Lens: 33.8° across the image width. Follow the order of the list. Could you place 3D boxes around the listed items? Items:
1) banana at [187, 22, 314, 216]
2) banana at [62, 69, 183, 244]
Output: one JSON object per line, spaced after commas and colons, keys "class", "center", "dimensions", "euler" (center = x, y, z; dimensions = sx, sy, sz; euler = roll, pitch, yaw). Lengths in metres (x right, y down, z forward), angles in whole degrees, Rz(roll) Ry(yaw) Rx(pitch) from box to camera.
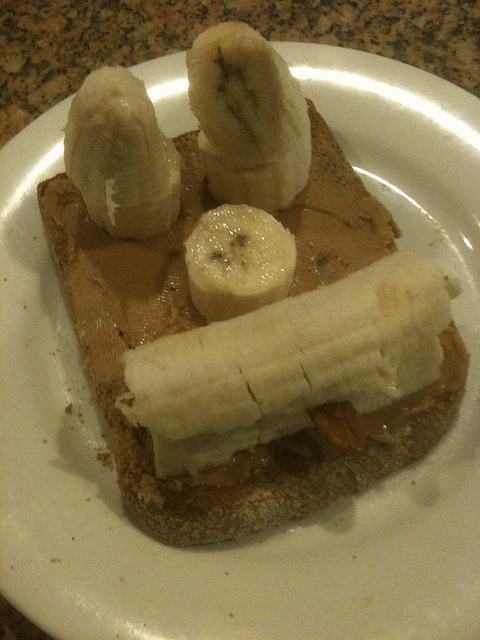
{"class": "banana", "center": [0.023, -0.395, 1.597], "dimensions": [0.242, 0.395, 0.212], "euler": [0, 66, 4]}
{"class": "banana", "center": [-0.233, -0.320, 1.586], "dimensions": [0.225, 0.361, 0.197], "euler": [-21, 66, -5]}
